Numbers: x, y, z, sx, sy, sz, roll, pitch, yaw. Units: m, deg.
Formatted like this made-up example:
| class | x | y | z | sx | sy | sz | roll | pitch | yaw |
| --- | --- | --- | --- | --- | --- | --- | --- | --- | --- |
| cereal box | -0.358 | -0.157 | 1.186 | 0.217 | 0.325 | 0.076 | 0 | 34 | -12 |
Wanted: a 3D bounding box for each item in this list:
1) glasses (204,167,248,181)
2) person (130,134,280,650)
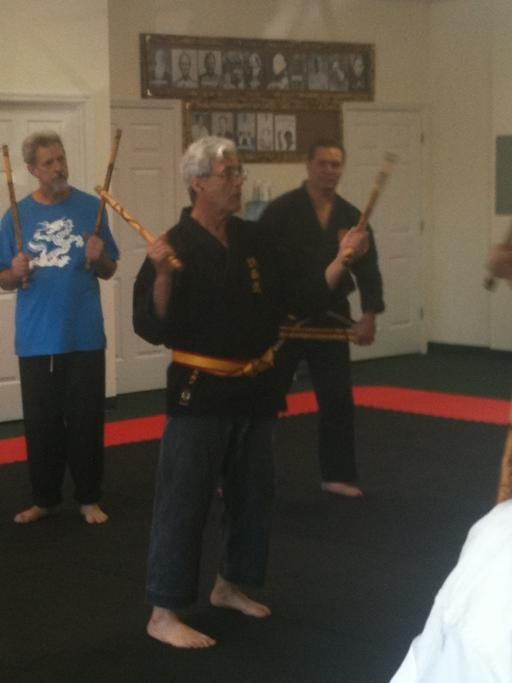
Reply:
| class | x | y | z | sx | sy | sz | roll | pitch | yaw |
| --- | --- | --- | --- | --- | --- | --- | --- | --- | --- |
| glasses | -0.044 | -0.245 | 1.009 | 0.049 | 0.019 | 0.017 | -8 | 12 | -24 |
| person | -0.075 | 0.101 | 1.153 | 0.275 | 0.836 | 0.210 | -14 | 15 | -41 |
